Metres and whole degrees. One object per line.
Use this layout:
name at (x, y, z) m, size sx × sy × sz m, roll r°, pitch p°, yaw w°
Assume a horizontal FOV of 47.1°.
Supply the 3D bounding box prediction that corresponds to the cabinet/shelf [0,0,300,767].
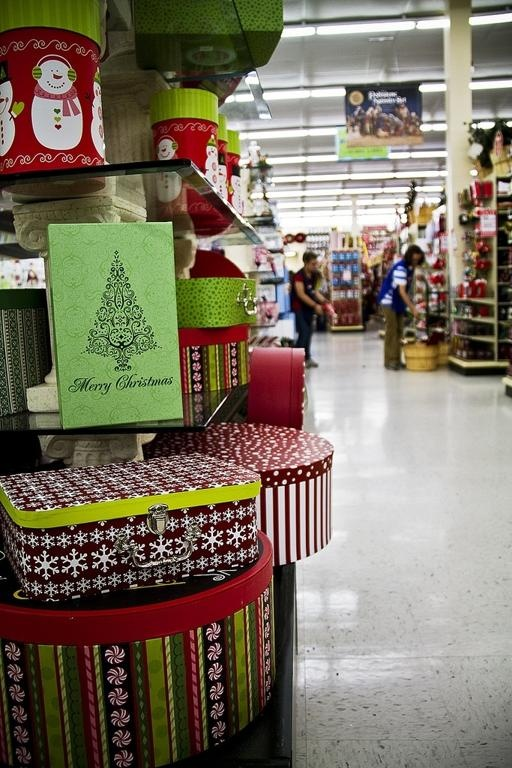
cabinet/shelf at (-0.212, 0.269, 0.741) m, size 0.696 × 1.792 × 2.057 m, roll -2°, pitch 10°, yaw -2°

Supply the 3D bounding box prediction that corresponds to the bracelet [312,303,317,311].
bracelet at (0.819, -1.068, 8.181) m, size 0.080 × 0.082 × 0.083 m, roll -6°, pitch 8°, yaw -28°

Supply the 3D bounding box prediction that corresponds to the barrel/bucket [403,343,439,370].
barrel/bucket at (2.278, -0.352, 8.109) m, size 0.396 × 0.301 × 0.404 m, roll -1°, pitch 0°, yaw 0°
